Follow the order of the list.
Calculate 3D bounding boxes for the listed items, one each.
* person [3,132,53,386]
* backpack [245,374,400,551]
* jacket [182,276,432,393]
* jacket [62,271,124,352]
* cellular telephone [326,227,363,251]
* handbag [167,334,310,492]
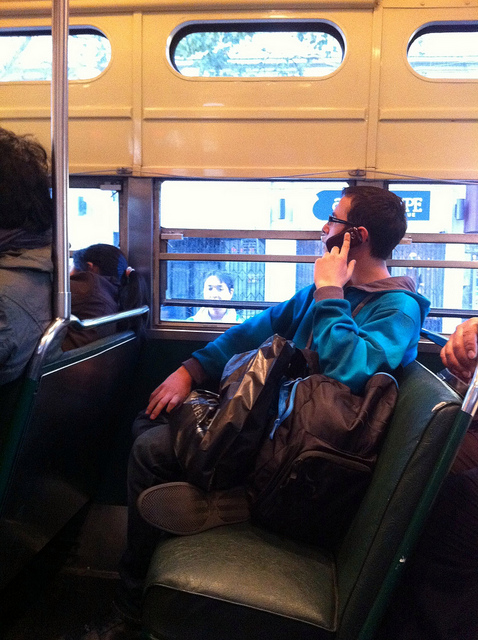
[{"bbox_3d":[-0.644,-0.206,1.656,0.167,0.714,0.535,1,11,-19],"label":"person"},{"bbox_3d":[0.214,0.341,1.570,0.315,0.549,0.423,23,32,8],"label":"backpack"},{"bbox_3d":[0.311,0.019,2.058,0.597,0.419,0.874,7,-3,-37],"label":"jacket"},{"bbox_3d":[-0.580,-0.027,2.165,0.169,0.307,0.240,3,-25,34],"label":"jacket"},{"bbox_3d":[0.392,-0.302,2.082,0.095,0.031,0.077,-12,-37,34],"label":"cellular telephone"},{"bbox_3d":[-0.049,0.250,1.687,0.257,0.436,0.446,11,12,-15],"label":"handbag"}]
